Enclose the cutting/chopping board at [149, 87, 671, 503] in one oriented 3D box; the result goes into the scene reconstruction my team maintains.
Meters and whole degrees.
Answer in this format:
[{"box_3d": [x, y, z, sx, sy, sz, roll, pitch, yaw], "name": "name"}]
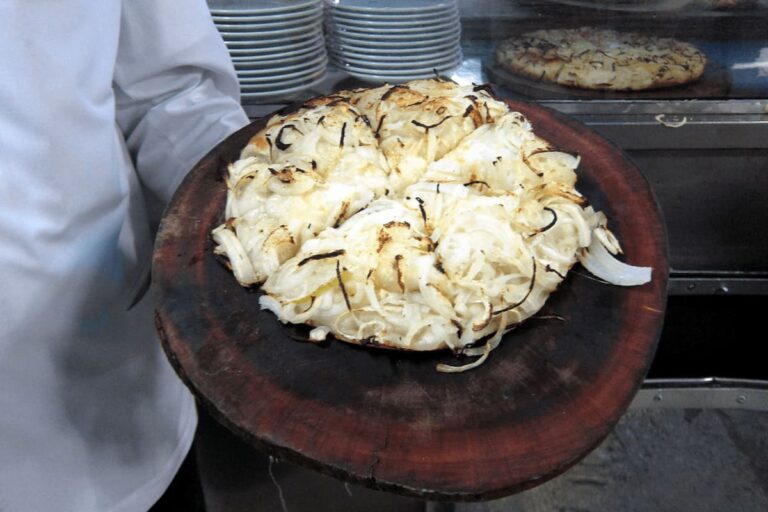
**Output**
[{"box_3d": [0.160, 0.193, 2.712, 2.007, 0.309, 1.416, -8, 52, -3], "name": "cutting/chopping board"}]
